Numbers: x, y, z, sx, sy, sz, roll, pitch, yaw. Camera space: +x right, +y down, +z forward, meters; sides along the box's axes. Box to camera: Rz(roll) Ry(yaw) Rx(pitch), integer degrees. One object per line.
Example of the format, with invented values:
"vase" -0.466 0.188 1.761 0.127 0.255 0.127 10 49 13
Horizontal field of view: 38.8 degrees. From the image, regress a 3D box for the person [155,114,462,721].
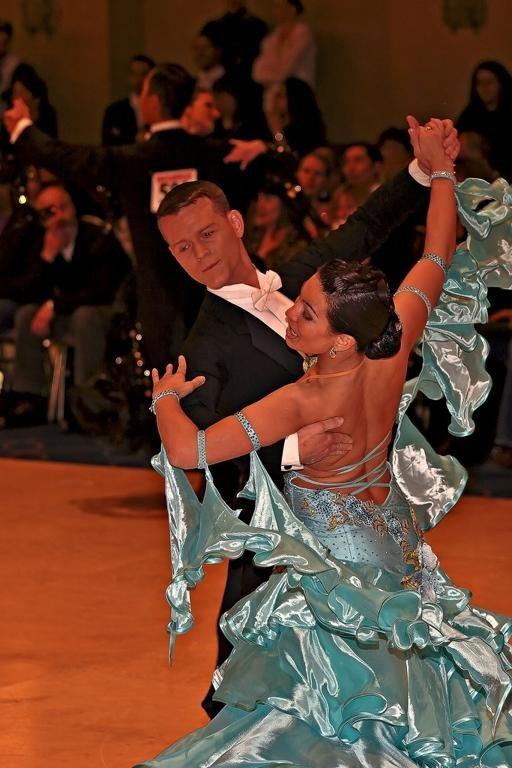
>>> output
"person" 0.152 -0.117 1.377 0.599 0.754 0.317 5 3 -25
